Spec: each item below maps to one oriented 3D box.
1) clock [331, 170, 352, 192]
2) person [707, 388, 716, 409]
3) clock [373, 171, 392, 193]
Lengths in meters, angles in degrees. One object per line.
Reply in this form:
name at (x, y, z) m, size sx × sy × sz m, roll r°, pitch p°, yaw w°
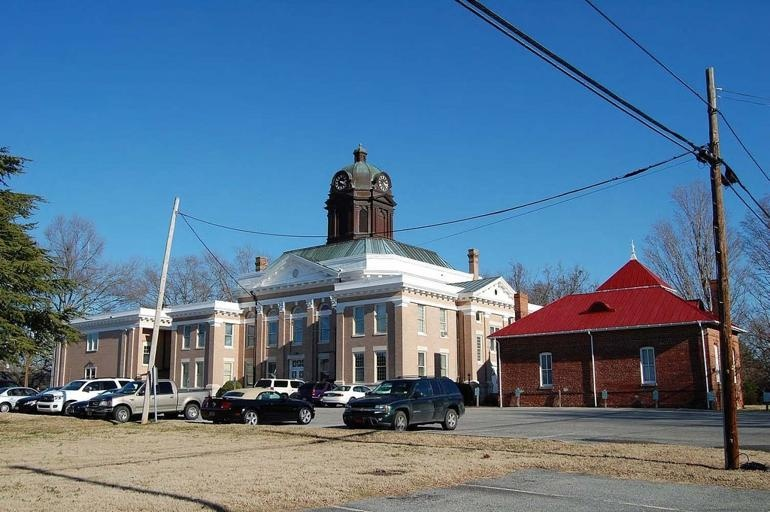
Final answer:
clock at (-4.232, -7.280, 73.602) m, size 2.245 × 2.271 × 0.377 m, roll -13°, pitch -18°, yaw 40°
person at (19.339, 8.493, 44.421) m, size 0.523 × 1.078 × 0.974 m, roll -7°, pitch -15°, yaw 22°
clock at (-0.321, -7.193, 73.773) m, size 1.598 × 2.017 × 2.143 m, roll -1°, pitch -14°, yaw -2°
